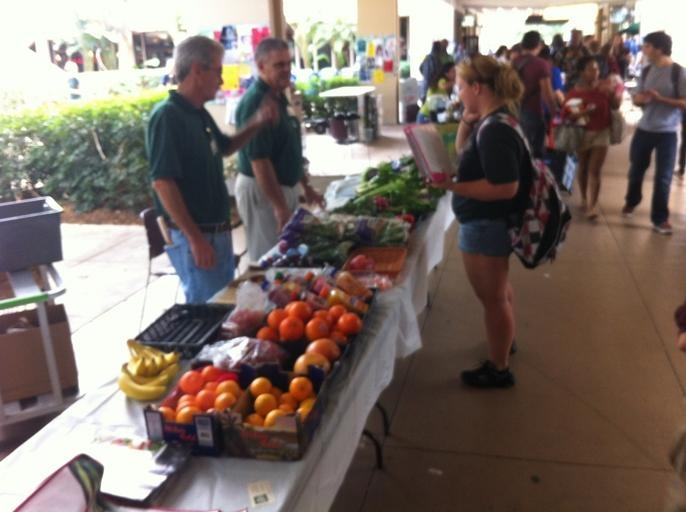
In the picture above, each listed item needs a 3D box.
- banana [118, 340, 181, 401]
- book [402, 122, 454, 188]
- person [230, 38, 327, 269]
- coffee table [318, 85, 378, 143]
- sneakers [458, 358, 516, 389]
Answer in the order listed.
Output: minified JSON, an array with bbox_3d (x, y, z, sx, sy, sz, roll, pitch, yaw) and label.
[{"bbox_3d":[-0.749,0.451,1.942,0.196,0.218,0.258,11,15,25],"label":"banana"},{"bbox_3d":[0.591,-0.616,3.025,0.100,0.391,0.370,-29,-17,36],"label":"book"},{"bbox_3d":[-0.521,-0.496,3.978,0.556,2.218,0.780,1,27,-2],"label":"person"},{"bbox_3d":[0.178,-3.705,12.655,1.611,1.652,1.677,8,33,19],"label":"coffee table"},{"bbox_3d":[1.015,0.822,3.603,0.403,0.212,0.162,2,33,14],"label":"sneakers"}]
